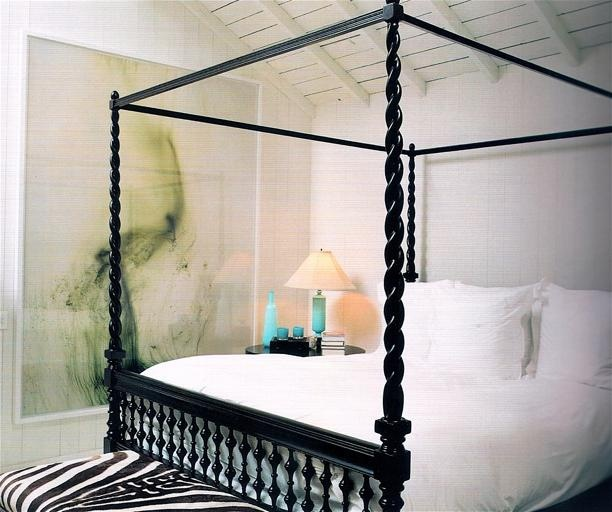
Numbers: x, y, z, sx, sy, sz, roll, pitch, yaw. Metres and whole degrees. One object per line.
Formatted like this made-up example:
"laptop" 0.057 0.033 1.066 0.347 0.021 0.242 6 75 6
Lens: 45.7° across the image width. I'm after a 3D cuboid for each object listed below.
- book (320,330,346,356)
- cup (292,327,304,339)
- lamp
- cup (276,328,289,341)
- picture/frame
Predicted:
"book" 0.178 0.556 4.647 0.178 0.097 0.121 1 -7 -14
"cup" -0.050 0.504 4.778 0.081 0.078 0.082 2 0 0
"lamp" 0.100 0.264 4.980 0.543 0.615 0.564 4 5 44
"cup" -0.153 0.513 4.770 0.068 0.062 0.065 2 0 0
"picture/frame" -0.984 -0.057 4.694 1.632 2.019 0.060 -1 2 -36
